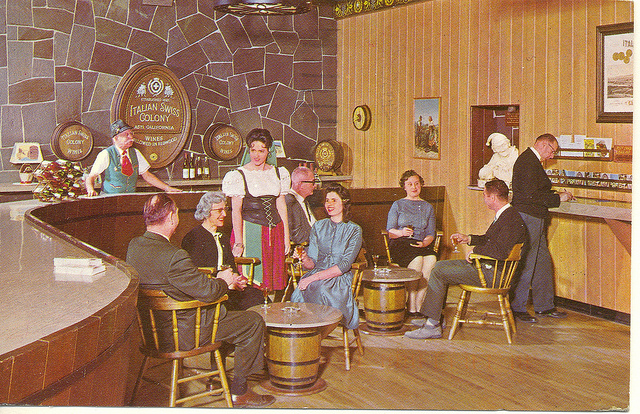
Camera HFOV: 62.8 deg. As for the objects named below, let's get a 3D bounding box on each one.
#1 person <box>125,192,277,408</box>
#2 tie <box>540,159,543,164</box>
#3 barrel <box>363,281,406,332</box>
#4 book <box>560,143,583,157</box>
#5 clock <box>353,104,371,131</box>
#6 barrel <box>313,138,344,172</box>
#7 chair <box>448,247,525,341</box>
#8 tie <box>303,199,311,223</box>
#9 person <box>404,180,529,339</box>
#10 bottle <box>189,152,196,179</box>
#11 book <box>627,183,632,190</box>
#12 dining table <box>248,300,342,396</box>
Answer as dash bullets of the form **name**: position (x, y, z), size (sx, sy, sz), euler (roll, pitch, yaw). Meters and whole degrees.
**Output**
- **person**: position (-0.796, 0.739, 4.342), size (0.939, 1.769, 1.157), euler (3, 10, 18)
- **tie**: position (2.620, -0.552, 6.269), size (0.012, 0.055, 0.054), euler (6, 20, 7)
- **barrel**: position (0.670, 1.056, 5.725), size (0.508, 0.543, 0.493), euler (-2, 4, -31)
- **book**: position (3.016, -0.703, 6.340), size (0.144, 0.181, 0.257), euler (-7, 8, -39)
- **clock**: position (0.748, -1.541, 8.958), size (0.189, 0.509, 0.446), euler (1, -2, -31)
- **barrel**: position (0.175, -0.923, 9.076), size (0.476, 0.495, 0.213), euler (5, 7, 39)
- **chair**: position (1.911, 1.005, 6.098), size (0.906, 1.380, 1.085), euler (0, 0, 11)
- **tie**: position (-0.119, 0.043, 5.890), size (0.042, 0.277, 0.033), euler (-8, 10, 11)
- **person**: position (1.580, 0.547, 5.678), size (1.101, 1.664, 0.634), euler (2, 9, 9)
- **bottle**: position (-1.974, -0.672, 8.396), size (0.102, 0.408, 0.194), euler (-2, 9, -12)
- **book**: position (3.413, -0.239, 5.874), size (0.066, 0.068, 0.050), euler (5, 10, 26)
- **dining table**: position (-0.215, 1.256, 4.597), size (0.838, 0.634, 0.795), euler (5, -8, -39)
